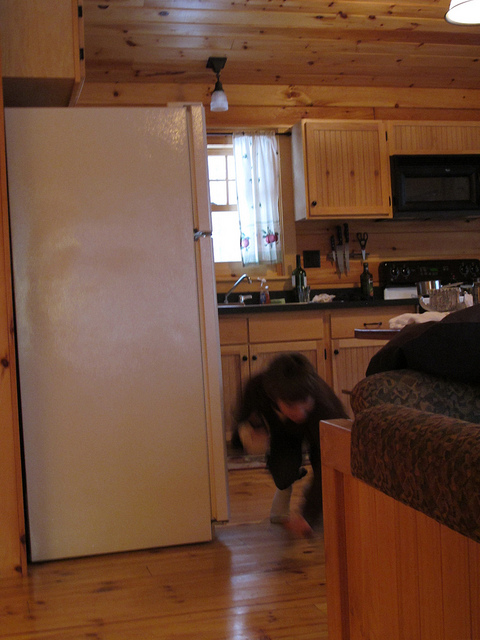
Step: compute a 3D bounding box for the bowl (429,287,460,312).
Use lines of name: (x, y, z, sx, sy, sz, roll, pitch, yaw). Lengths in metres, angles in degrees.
bowl: (0.561, -0.055, 1.649, 0.031, 0.068, 0.102, -2, -1, -25)

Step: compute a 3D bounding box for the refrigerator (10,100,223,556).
refrigerator: (-0.431, -0.002, 2.175, 0.707, 1.358, 0.706, -5, 7, -27)

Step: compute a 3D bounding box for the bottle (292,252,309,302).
bottle: (0.393, -0.286, 3.934, 0.103, 0.299, 0.185, -3, -1, 5)

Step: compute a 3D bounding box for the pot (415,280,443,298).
pot: (0.568, -0.091, 1.764, 0.049, 0.044, 0.059, 1, 2, 10)

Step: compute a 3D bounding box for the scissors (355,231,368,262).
scissors: (0.845, -0.511, 4.090, 0.074, 0.212, 0.022, -2, -6, 2)

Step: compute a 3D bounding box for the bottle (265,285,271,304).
bottle: (0.182, -0.165, 3.875, 0.033, 0.104, 0.137, -3, -1, 6)

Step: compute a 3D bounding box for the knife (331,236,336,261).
knife: (0.631, -0.484, 4.013, 0.022, 0.167, 0.016, -3, 0, -1)

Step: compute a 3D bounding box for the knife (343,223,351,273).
knife: (0.727, -0.501, 4.045, 0.039, 0.315, 0.015, -3, 6, -22)

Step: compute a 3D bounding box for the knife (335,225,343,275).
knife: (0.679, -0.487, 4.041, 0.040, 0.304, 0.024, -2, 3, -2)
